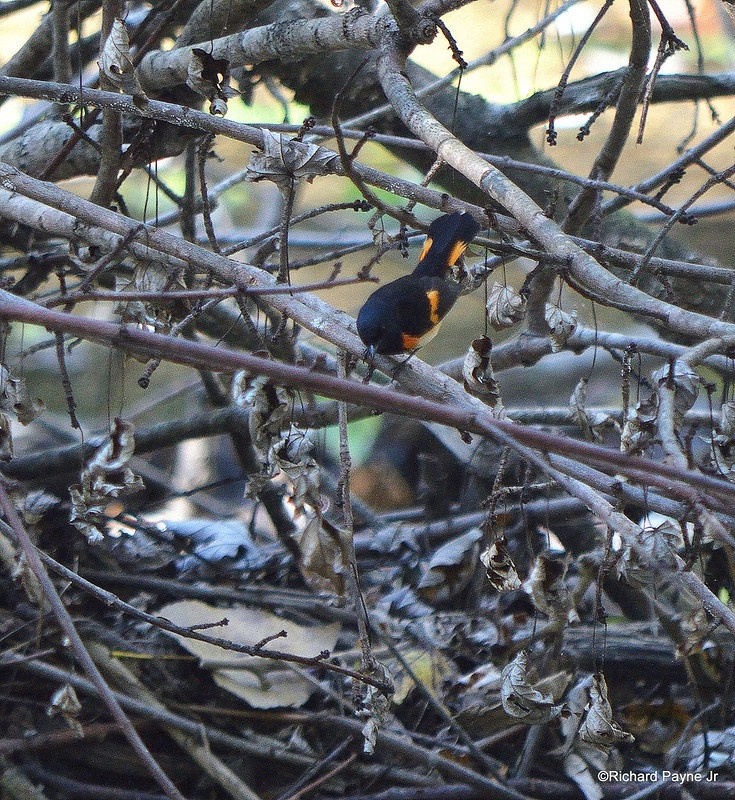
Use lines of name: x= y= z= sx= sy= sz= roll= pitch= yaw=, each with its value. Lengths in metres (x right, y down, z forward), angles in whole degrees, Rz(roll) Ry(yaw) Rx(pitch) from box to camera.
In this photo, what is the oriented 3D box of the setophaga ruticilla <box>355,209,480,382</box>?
setophaga ruticilla: x=0.181 y=-0.348 z=5.077 sx=0.278 sy=0.476 sz=0.499 roll=27 pitch=-52 yaw=-15
